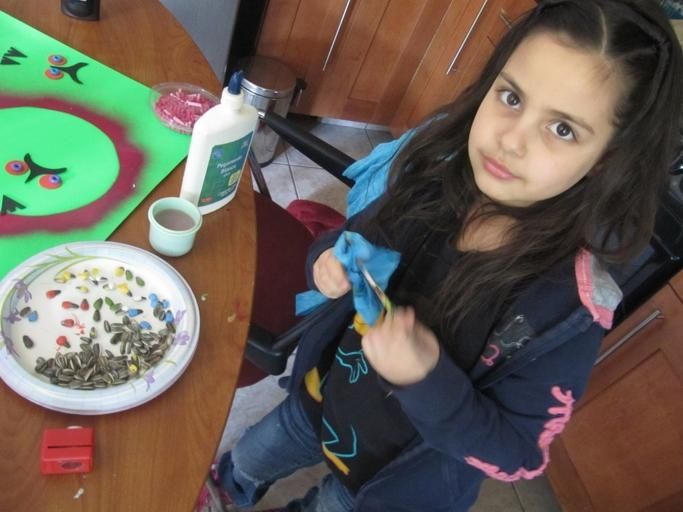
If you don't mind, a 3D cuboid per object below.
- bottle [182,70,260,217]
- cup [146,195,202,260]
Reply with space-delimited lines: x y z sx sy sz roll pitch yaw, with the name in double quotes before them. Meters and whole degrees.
"bottle" -0.248 -0.229 1.099 0.075 0.329 0.149 42 46 16
"cup" -0.327 -0.064 1.057 0.111 0.085 0.117 9 57 -14
